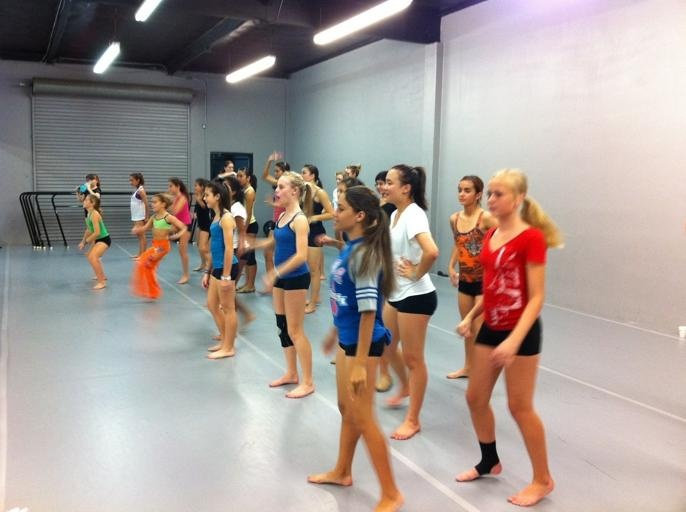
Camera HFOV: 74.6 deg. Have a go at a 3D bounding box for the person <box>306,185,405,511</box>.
[{"bbox_3d":[0.104,0.598,2.540,0.361,1.744,0.573,-7,10,-24],"label":"person"}]

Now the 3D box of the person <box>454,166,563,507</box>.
[{"bbox_3d":[0.953,0.496,2.583,0.588,1.952,0.581,-1,10,13],"label":"person"}]
